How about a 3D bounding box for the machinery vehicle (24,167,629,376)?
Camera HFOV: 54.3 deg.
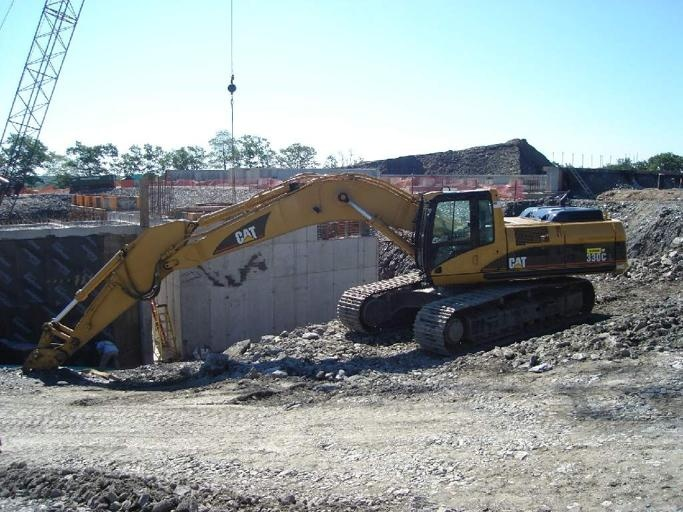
[{"bbox_3d":[0.656,-0.020,14.073,12.975,3.548,4.807,-3,3,-23],"label":"machinery vehicle"}]
